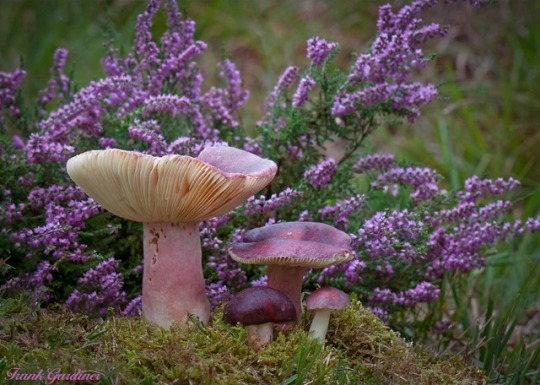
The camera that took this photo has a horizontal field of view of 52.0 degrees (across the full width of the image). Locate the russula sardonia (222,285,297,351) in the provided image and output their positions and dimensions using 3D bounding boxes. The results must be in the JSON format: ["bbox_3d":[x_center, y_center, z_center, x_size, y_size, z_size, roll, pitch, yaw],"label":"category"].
[{"bbox_3d":[-0.072,0.734,3.498,0.382,0.365,0.356,-1,2,30],"label":"russula sardonia"}]
